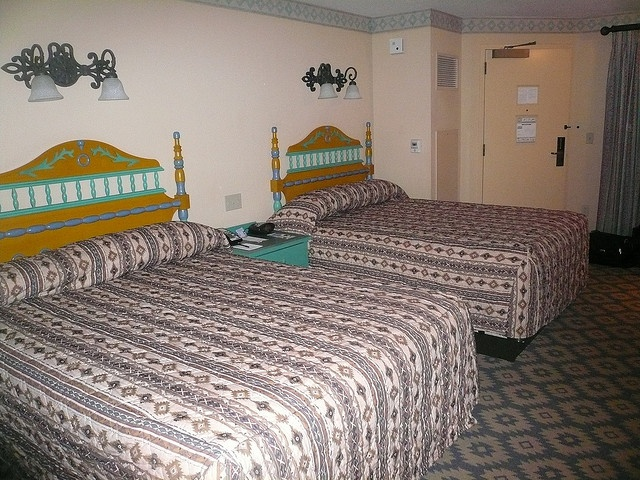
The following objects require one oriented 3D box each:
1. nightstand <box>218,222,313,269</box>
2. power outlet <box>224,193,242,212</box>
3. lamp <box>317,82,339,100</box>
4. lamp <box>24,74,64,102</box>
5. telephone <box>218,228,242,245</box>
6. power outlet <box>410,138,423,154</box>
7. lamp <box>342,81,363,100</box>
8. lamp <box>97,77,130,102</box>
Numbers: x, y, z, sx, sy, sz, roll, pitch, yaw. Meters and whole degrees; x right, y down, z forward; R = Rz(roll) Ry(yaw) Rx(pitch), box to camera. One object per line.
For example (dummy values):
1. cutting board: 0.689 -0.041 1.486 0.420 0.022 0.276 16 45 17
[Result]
1. nightstand: -0.349 0.079 4.337 0.489 0.308 0.494 13 21 37
2. power outlet: -0.886 -0.380 4.670 0.017 0.125 0.177 12 21 35
3. lamp: 0.086 -1.675 5.307 0.219 0.159 0.219 0 18 3
4. lamp: -1.888 -1.036 3.214 0.200 0.152 0.201 -6 20 25
5. telephone: -0.808 -0.024 4.205 0.141 0.035 0.153 29 26 29
6. power outlet: 1.270 -1.243 6.120 0.186 0.215 0.034 8 14 35
7. lamp: 0.391 -1.770 5.567 0.251 0.244 0.228 -14 23 -30
8. lamp: -1.581 -1.134 3.533 0.199 0.138 0.201 13 22 33
